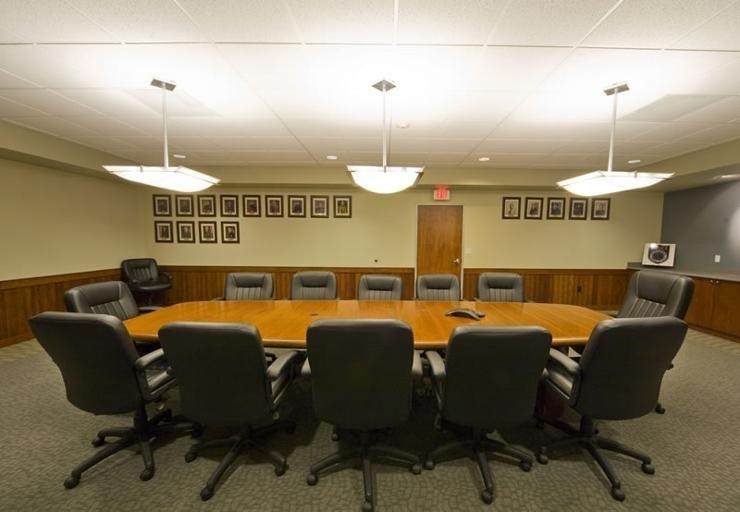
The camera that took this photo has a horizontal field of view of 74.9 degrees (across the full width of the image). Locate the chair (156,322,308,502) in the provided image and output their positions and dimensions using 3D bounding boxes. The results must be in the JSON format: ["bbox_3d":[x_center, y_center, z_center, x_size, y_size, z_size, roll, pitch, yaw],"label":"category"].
[{"bbox_3d":[-1.233,1.328,4.365,1.093,1.577,0.575,-1,5,-1],"label":"chair"}]

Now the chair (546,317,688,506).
[{"bbox_3d":[2.221,1.230,4.583,1.120,1.605,1.185,-2,11,-17],"label":"chair"}]

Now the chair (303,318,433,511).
[{"bbox_3d":[-0.058,1.212,4.622,1.487,1.990,1.466,0,8,1],"label":"chair"}]

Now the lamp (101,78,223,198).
[{"bbox_3d":[-2.171,-1.253,5.327,0.957,1.073,1.121,-2,4,-6],"label":"lamp"}]

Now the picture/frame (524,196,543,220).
[{"bbox_3d":[2.726,-0.793,7.934,0.388,0.478,0.051,0,4,-1],"label":"picture/frame"}]

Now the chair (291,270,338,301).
[{"bbox_3d":[-0.704,0.385,6.043,0.393,0.501,0.416,0,1,-1],"label":"chair"}]

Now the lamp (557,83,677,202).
[{"bbox_3d":[2.518,-1.200,5.215,0.949,1.067,1.078,-1,4,10],"label":"lamp"}]

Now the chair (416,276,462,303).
[{"bbox_3d":[0.849,0.405,5.967,0.370,0.467,0.379,0,-3,-6],"label":"chair"}]

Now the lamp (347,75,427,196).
[{"bbox_3d":[0.175,-1.246,5.103,0.765,1.049,0.751,0,10,5],"label":"lamp"}]

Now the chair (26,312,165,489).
[{"bbox_3d":[-2.379,1.231,4.655,1.296,1.530,1.139,-2,5,-36],"label":"chair"}]

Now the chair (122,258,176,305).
[{"bbox_3d":[-3.395,0.459,7.319,0.669,0.766,0.636,-4,8,-31],"label":"chair"}]

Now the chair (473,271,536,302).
[{"bbox_3d":[1.643,0.389,5.947,0.401,0.559,0.454,-1,-1,-3],"label":"chair"}]

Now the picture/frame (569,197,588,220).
[{"bbox_3d":[3.446,-0.788,7.921,0.363,0.428,0.029,0,5,-1],"label":"picture/frame"}]

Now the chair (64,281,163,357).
[{"bbox_3d":[-2.488,0.735,4.871,0.815,0.888,0.777,-3,6,7],"label":"chair"}]

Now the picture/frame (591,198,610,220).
[{"bbox_3d":[3.809,-0.780,7.923,0.346,0.430,0.048,1,2,-1],"label":"picture/frame"}]
